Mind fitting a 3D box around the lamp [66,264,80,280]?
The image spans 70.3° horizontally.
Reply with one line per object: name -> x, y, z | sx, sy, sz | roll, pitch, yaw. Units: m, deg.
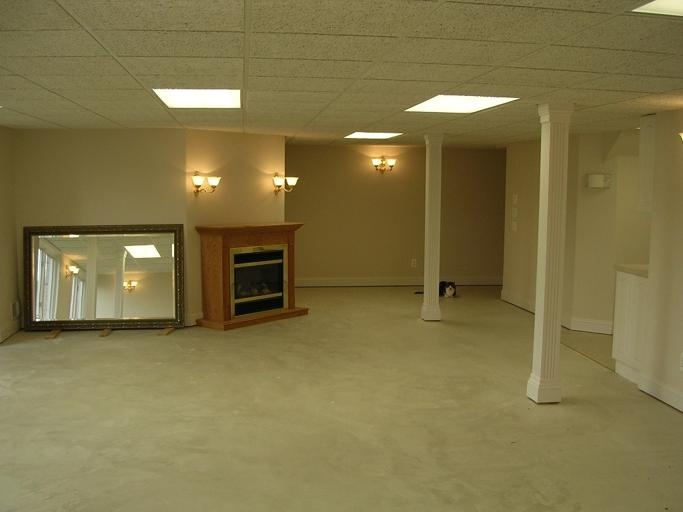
lamp -> -4.272, 0.243, 7.656 | 0.253, 0.244, 0.193 | -1, 1, -37

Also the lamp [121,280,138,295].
lamp -> -3.402, 0.488, 7.739 | 0.248, 0.230, 0.080 | 0, 2, -8

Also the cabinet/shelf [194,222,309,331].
cabinet/shelf -> -1.525, 0.336, 8.402 | 0.762, 1.655, 1.944 | 3, 5, 35

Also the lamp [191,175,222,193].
lamp -> -2.184, -1.177, 7.947 | 0.508, 0.283, 0.343 | -6, 5, -31

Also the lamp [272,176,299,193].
lamp -> -1.074, -1.327, 9.007 | 0.401, 0.322, 0.445 | -4, 5, -11

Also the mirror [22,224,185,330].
mirror -> -3.923, 0.306, 7.726 | 1.744, 1.220, 0.076 | 0, 1, 0
